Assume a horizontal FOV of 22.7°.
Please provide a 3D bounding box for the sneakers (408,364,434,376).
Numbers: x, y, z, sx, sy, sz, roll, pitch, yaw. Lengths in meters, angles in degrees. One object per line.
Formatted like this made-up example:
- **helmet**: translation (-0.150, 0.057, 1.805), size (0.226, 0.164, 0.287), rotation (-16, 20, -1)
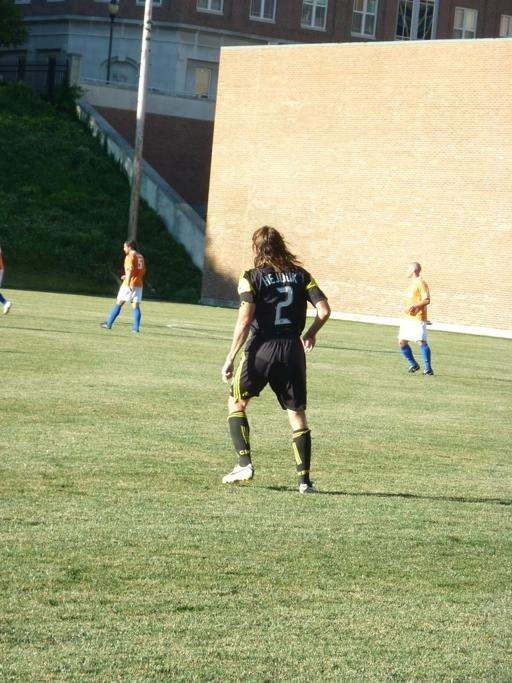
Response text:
- **sneakers**: translation (2.331, 0.398, 17.888), size (0.141, 0.184, 0.422), rotation (3, -5, 30)

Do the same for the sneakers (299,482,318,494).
- **sneakers**: translation (0.338, 0.978, 8.542), size (0.049, 0.057, 0.125), rotation (5, 7, 35)

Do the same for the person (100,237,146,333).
- **person**: translation (-2.101, -0.865, 20.253), size (0.586, 1.447, 1.451), rotation (4, 5, -7)

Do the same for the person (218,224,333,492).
- **person**: translation (0.118, 0.124, 8.554), size (0.671, 1.763, 0.696), rotation (5, 5, 3)

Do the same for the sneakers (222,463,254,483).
- **sneakers**: translation (-0.110, 0.887, 8.589), size (0.270, 0.138, 0.093), rotation (-15, -23, 42)

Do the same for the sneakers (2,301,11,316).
- **sneakers**: translation (-4.054, -0.536, 20.643), size (0.113, 0.252, 0.091), rotation (21, 46, 7)

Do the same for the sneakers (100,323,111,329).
- **sneakers**: translation (-2.404, -0.239, 20.228), size (0.078, 0.095, 0.219), rotation (-12, 31, -35)
